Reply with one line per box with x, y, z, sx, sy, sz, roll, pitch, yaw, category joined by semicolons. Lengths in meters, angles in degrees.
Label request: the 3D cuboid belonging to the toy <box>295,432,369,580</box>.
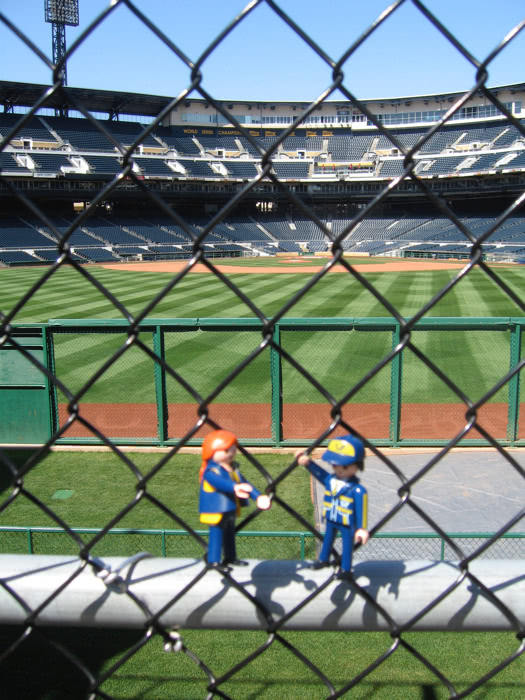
0.139;0.288;1.407;0.143;0.232;0.238;2;-1;8;toy
